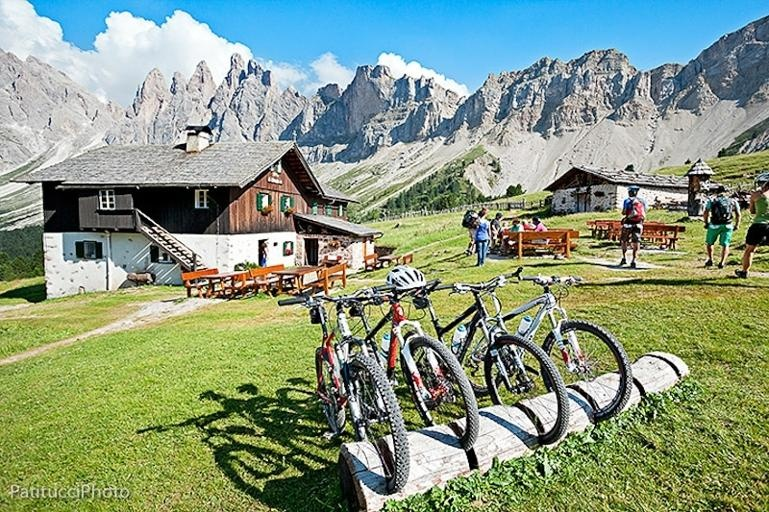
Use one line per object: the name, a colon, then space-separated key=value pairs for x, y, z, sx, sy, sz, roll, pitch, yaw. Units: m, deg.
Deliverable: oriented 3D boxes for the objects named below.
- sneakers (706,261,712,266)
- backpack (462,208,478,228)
sneakers: x=12.605 y=0.303 z=20.748 sx=0.116 sy=0.231 sz=0.330 roll=-2 pitch=-7 yaw=-2
backpack: x=4.021 y=-1.700 z=25.067 sx=0.833 sy=0.480 sz=1.169 roll=3 pitch=13 yaw=14
